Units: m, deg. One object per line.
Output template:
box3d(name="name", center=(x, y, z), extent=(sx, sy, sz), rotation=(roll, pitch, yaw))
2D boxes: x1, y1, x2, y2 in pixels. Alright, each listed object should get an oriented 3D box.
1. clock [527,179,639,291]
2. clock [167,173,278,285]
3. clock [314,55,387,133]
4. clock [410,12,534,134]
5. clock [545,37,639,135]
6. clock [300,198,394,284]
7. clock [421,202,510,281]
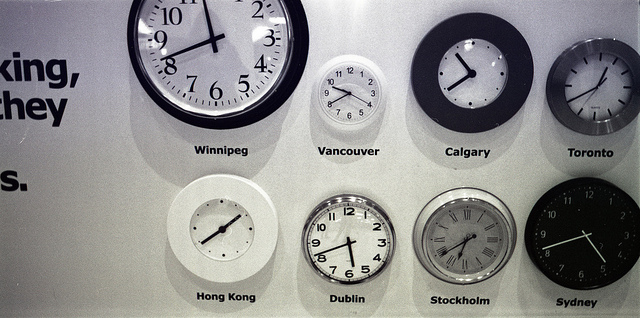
box3d(name="clock", center=(1.880, 0.501, 4.970), extent=(0.815, 0.834, 0.156), rotation=(-1, -3, 2))
box3d(name="clock", center=(-0.689, 0.463, 4.989), extent=(0.824, 0.785, 0.105), rotation=(0, -1, 0))
box3d(name="clock", center=(0.215, -0.483, 4.908), extent=(0.551, 0.528, 0.103), rotation=(0, 5, 5))
box3d(name="clock", center=(1.070, -0.644, 4.915), extent=(0.879, 0.841, 0.089), rotation=(-1, 3, 2))
box3d(name="clock", center=(1.931, -0.540, 4.915), extent=(0.710, 0.679, 0.117), rotation=(-1, 1, 2))
box3d(name="clock", center=(0.202, 0.558, 4.973), extent=(0.639, 0.603, 0.069), rotation=(0, 4, 0))
box3d(name="clock", center=(1.037, 0.580, 4.951), extent=(0.593, 0.524, 0.211), rotation=(0, -16, 12))
